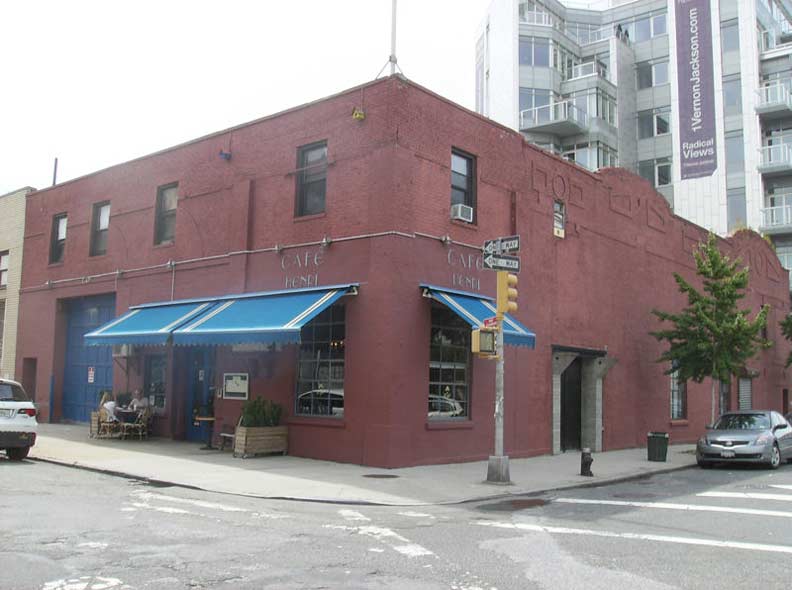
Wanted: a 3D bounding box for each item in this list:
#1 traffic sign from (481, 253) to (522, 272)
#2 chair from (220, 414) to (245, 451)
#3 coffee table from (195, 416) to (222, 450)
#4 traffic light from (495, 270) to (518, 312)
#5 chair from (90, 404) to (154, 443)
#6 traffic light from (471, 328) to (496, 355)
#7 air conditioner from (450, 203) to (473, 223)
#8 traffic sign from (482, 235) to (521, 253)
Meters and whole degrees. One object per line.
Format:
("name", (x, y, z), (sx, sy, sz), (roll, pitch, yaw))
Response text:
("traffic sign", (2.595, -0.771, 20.249), (0.887, 0.378, 0.279), (1, 1, -17))
("chair", (-4.625, 3.937, 23.646), (0.370, 0.678, 0.965), (11, -18, -37))
("coffee table", (-5.689, 4.184, 25.267), (0.916, 1.033, 0.945), (0, -1, -19))
("traffic light", (2.731, -0.042, 20.370), (0.441, 1.063, 0.726), (1, 1, 2))
("chair", (-8.658, 4.056, 25.822), (1.712, 0.900, 0.959), (-1, -10, 1))
("traffic light", (2.181, 1.164, 20.155), (0.749, 0.629, 0.267), (1, 1, -42))
("air conditioner", (1.881, -2.170, 23.621), (0.449, 0.559, 0.805), (-7, -11, 35))
("traffic sign", (2.665, -1.282, 20.988), (0.736, 0.451, 0.033), (-7, -21, 40))
